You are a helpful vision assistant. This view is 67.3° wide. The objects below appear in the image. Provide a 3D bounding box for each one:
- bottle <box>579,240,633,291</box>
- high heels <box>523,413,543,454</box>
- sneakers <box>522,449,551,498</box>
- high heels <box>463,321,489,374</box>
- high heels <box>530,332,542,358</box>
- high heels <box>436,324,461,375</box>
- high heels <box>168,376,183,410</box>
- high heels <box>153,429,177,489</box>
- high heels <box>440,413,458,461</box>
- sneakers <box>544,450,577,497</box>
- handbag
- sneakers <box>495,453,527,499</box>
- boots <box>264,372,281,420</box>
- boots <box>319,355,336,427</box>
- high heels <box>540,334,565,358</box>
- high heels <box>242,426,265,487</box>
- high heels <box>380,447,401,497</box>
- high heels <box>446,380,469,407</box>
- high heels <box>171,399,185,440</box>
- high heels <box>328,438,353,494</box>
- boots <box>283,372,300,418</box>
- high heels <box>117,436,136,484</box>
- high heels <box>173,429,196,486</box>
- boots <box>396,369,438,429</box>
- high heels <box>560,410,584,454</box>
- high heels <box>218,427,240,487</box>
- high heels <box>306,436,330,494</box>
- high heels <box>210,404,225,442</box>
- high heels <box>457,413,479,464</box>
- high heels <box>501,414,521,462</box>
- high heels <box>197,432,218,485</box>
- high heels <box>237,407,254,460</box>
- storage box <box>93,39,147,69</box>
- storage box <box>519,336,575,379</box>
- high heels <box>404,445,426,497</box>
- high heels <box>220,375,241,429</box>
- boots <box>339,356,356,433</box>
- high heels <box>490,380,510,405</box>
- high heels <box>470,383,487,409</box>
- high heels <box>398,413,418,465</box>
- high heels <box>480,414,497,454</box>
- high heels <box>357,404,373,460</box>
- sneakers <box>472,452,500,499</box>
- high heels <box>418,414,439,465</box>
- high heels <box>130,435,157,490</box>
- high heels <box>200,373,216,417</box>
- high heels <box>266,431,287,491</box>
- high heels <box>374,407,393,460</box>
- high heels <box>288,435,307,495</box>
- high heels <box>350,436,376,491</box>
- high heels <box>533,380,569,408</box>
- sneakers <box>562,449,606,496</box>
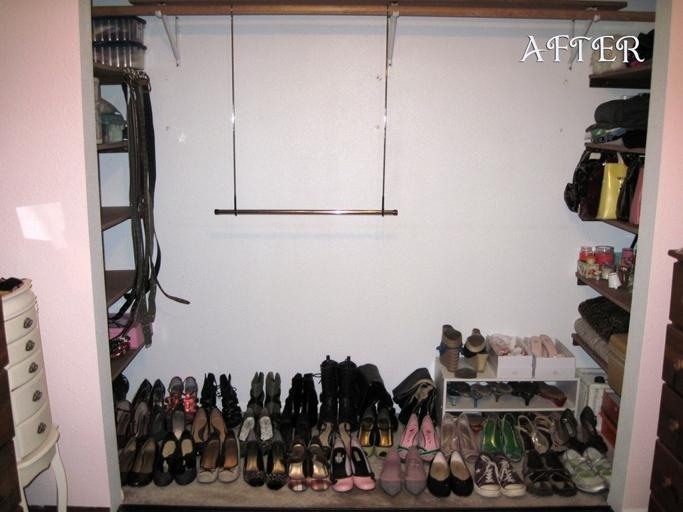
[{"bbox_3d":[1.754,0.067,3.395,0.235,0.164,0.330,5,6,40],"label":"bottle"},{"bbox_3d":[1.253,1.164,3.378,0.071,0.216,0.080,-16,-48,-1],"label":"high heels"},{"bbox_3d":[1.186,1.338,3.157,0.137,0.145,0.381,2,1,7],"label":"sneakers"},{"bbox_3d":[0.922,0.645,3.590,0.151,0.192,0.446,-3,5,5],"label":"high heels"},{"bbox_3d":[1.313,0.614,3.508,0.050,0.070,0.159,0,34,13],"label":"high heels"},{"bbox_3d":[0.730,0.620,3.598,0.108,0.250,0.345,-1,13,-9],"label":"high heels"},{"bbox_3d":[-1.149,0.945,3.560,0.081,0.250,0.077,0,-21,-4],"label":"high heels"},{"bbox_3d":[-1.069,1.249,3.162,0.125,0.105,0.381,11,22,-14],"label":"high heels"},{"bbox_3d":[0.692,1.194,3.346,0.120,0.105,0.372,-9,20,13],"label":"high heels"},{"bbox_3d":[1.318,1.313,3.125,0.115,0.107,0.345,-14,15,10],"label":"sneakers"},{"bbox_3d":[1.657,-0.419,3.234,0.428,0.649,0.290,2,3,-19],"label":"handbag"},{"bbox_3d":[1.012,1.324,3.112,0.161,0.236,0.174,-10,-18,16],"label":"sneakers"},{"bbox_3d":[-0.486,0.962,3.554,0.084,0.312,0.117,0,0,5],"label":"boots"},{"bbox_3d":[-0.093,0.954,3.507,0.131,0.397,0.112,-3,-17,-3],"label":"boots"},{"bbox_3d":[1.433,0.620,3.525,0.062,0.086,0.203,-5,13,5],"label":"high heels"},{"bbox_3d":[-0.542,1.253,3.172,0.094,0.126,0.305,-2,25,-8],"label":"high heels"},{"bbox_3d":[0.304,1.325,3.175,0.136,0.105,0.421,-3,12,6],"label":"high heels"},{"bbox_3d":[0.788,0.931,3.519,0.078,0.095,0.230,0,14,5],"label":"high heels"},{"bbox_3d":[-1.076,1.086,3.405,0.072,0.219,0.085,-4,-37,-7],"label":"high heels"},{"bbox_3d":[-0.008,1.270,3.148,0.124,0.125,0.384,-3,17,-3],"label":"high heels"},{"bbox_3d":[-0.322,0.944,3.534,0.081,0.297,0.113,6,-30,7],"label":"boots"},{"bbox_3d":[-1.313,1.241,3.156,0.080,0.063,0.244,-1,35,-2],"label":"high heels"},{"bbox_3d":[-0.964,1.254,3.199,0.125,0.105,0.377,-1,25,-12],"label":"high heels"},{"bbox_3d":[0.488,0.957,3.623,0.298,0.371,0.341,0,8,-4],"label":"boots"},{"bbox_3d":[1.487,1.144,3.341,0.084,0.254,0.062,-13,-28,9],"label":"high heels"},{"bbox_3d":[-0.706,1.243,3.194,0.085,0.098,0.255,1,31,-9],"label":"high heels"},{"bbox_3d":[-0.149,1.269,3.156,0.130,0.120,0.384,7,19,-13],"label":"high heels"},{"bbox_3d":[-0.826,1.103,3.407,0.073,0.220,0.060,-6,-43,-23],"label":"high heels"},{"bbox_3d":[0.810,1.181,3.348,0.090,0.296,0.081,-6,-42,1],"label":"high heels"},{"bbox_3d":[1.086,1.181,3.345,0.086,0.071,0.261,-3,39,2],"label":"high heels"},{"bbox_3d":[-0.814,1.266,3.173,0.080,0.107,0.254,1,21,-4],"label":"high heels"},{"bbox_3d":[-0.620,1.148,3.364,0.088,0.276,0.078,-7,-35,10],"label":"high heels"},{"bbox_3d":[-1.386,-1.254,3.220,0.228,0.162,0.248,0,20,-7],"label":"storage box"},{"bbox_3d":[1.394,0.668,3.553,0.286,0.140,0.404,-1,22,6],"label":"storage box"},{"bbox_3d":[0.441,1.302,3.157,0.142,0.122,0.451,-4,7,9],"label":"high heels"},{"bbox_3d":[-0.790,0.972,3.601,0.111,0.403,0.158,-11,-32,-6],"label":"high heels"},{"bbox_3d":[0.031,0.975,3.507,0.122,0.402,0.127,-4,-17,-1],"label":"boots"},{"bbox_3d":[1.080,0.936,3.522,0.077,0.057,0.147,1,21,7],"label":"high heels"},{"bbox_3d":[0.922,0.954,3.524,0.073,0.150,0.055,4,-10,-31],"label":"high heels"},{"bbox_3d":[0.437,1.175,3.333,0.123,0.112,0.378,0,19,18],"label":"high heels"},{"bbox_3d":[0.953,1.151,3.365,0.080,0.250,0.059,-5,-35,24],"label":"high heels"},{"bbox_3d":[0.149,1.143,3.394,0.104,0.107,0.364,11,23,-2],"label":"high heels"},{"bbox_3d":[0.887,1.328,3.156,0.137,0.149,0.373,1,4,10],"label":"sneakers"},{"bbox_3d":[0.552,1.175,3.299,0.130,0.097,0.353,-7,15,9],"label":"high heels"},{"bbox_3d":[-1.197,1.253,3.134,0.120,0.101,0.360,9,22,-10],"label":"high heels"},{"bbox_3d":[-0.916,0.946,3.550,0.086,0.286,0.107,7,-30,-13],"label":"high heels"},{"bbox_3d":[-0.398,1.272,3.145,0.088,0.115,0.278,3,30,-9],"label":"high heels"},{"bbox_3d":[0.281,1.156,3.381,0.083,0.296,0.090,-2,-45,3],"label":"high heels"},{"bbox_3d":[-0.273,1.253,3.155,0.122,0.105,0.402,1,25,-4],"label":"high heels"},{"bbox_3d":[0.113,1.260,3.146,0.118,0.129,0.341,-3,22,-11],"label":"high heels"},{"bbox_3d":[1.418,0.937,3.505,0.102,0.058,0.206,3,15,-16],"label":"high heels"},{"bbox_3d":[1.489,1.322,3.195,0.176,0.161,0.428,-2,3,4],"label":"sneakers"}]
